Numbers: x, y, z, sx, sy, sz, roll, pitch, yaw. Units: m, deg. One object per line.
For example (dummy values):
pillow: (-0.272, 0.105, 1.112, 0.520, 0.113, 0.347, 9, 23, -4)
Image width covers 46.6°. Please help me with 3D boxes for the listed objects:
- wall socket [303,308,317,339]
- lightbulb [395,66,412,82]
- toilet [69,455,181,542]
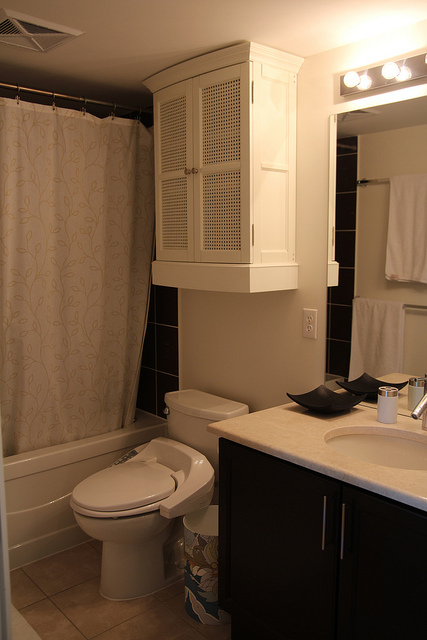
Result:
wall socket: (0.378, 0.013, 1.930, 0.008, 0.110, 0.071, -1, 2, -33)
lightbulb: (0.587, -0.760, 1.528, 0.036, 0.041, 0.038, -9, 25, -19)
toilet: (-0.332, 0.730, 1.960, 0.403, 0.225, 0.445, 1, 2, 3)
